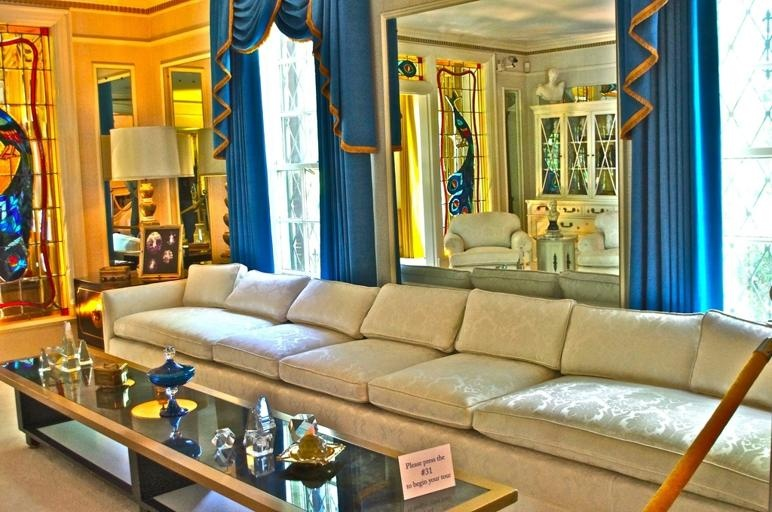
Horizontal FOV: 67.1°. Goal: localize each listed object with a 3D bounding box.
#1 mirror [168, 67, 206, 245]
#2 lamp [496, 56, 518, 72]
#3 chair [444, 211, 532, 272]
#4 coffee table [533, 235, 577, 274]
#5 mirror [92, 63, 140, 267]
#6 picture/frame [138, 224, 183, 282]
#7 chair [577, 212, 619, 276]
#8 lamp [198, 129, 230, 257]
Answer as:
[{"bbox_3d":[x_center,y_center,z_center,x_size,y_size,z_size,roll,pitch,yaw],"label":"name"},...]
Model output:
[{"bbox_3d":[-2.127,-1.306,6.257,0.409,1.876,0.043,0,-29,-19],"label":"mirror"},{"bbox_3d":[0.842,-1.331,4.065,0.141,0.126,0.083,8,11,29],"label":"lamp"},{"bbox_3d":[0.729,-0.128,4.312,0.616,0.511,0.475,1,36,14],"label":"chair"},{"bbox_3d":[1.144,-0.005,3.957,0.249,0.245,0.253,2,-3,-33],"label":"coffee table"},{"bbox_3d":[-2.843,-0.822,6.315,0.454,2.385,0.059,-1,5,2],"label":"mirror"},{"bbox_3d":[-2.219,-0.016,5.772,0.569,0.546,0.094,-3,-14,6],"label":"picture/frame"},{"bbox_3d":[1.481,-0.092,3.801,0.369,0.410,0.354,1,2,38],"label":"chair"},{"bbox_3d":[-1.885,-0.694,6.441,0.426,0.408,1.474,-10,38,-9],"label":"lamp"}]
